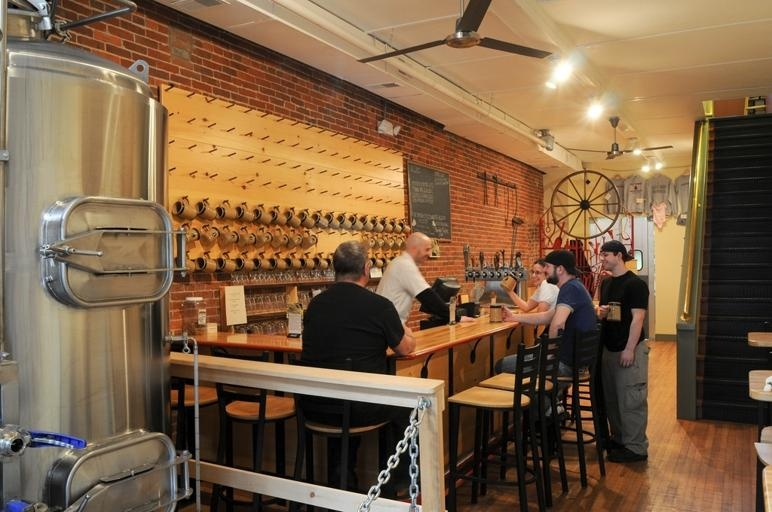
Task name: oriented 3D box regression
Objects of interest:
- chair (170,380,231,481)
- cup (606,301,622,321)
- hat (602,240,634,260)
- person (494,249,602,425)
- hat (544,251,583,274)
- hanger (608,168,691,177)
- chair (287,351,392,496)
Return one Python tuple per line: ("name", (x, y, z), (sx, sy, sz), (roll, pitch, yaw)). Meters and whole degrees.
("chair", (-1.368, 1.112, 4.138), (0.249, 0.428, 0.250), (-8, -7, 21))
("cup", (2.115, 0.518, 5.438), (0.183, 0.157, 0.111), (0, -3, 11))
("hat", (2.225, -0.053, 5.585), (0.267, 0.137, 0.195), (21, 4, 12))
("person", (1.249, 0.487, 5.211), (1.139, 1.694, 0.859), (2, -3, 31))
("hat", (1.599, 0.052, 5.297), (0.277, 0.132, 0.193), (8, 7, 19))
("hanger", (5.462, -1.723, 12.176), (1.500, 0.246, 0.298), (0, -1, 22))
("chair", (-0.249, 1.163, 3.884), (0.657, 1.031, 0.885), (0, 0, -1))
